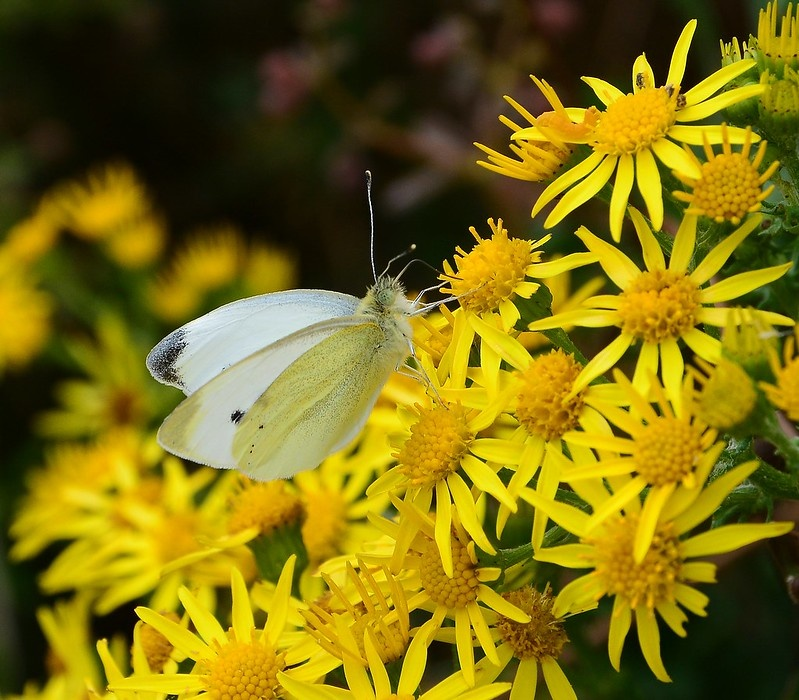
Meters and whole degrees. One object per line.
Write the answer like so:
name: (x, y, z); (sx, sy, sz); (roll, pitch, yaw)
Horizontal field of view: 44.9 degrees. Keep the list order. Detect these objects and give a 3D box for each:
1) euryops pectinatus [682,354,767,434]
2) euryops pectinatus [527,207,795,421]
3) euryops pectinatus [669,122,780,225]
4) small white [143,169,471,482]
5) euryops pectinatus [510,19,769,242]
euryops pectinatus: (0.485, 0.062, 1.467); (0.096, 0.041, 0.118); (-29, 96, 15)
euryops pectinatus: (0.429, -0.081, 1.584); (0.320, 0.093, 0.334); (-39, 60, 18)
euryops pectinatus: (0.531, -0.267, 1.562); (0.149, 0.059, 0.171); (-1, 71, 18)
small white: (-0.249, 0.070, 2.251); (0.463, 0.673, 0.666); (44, 100, -1)
euryops pectinatus: (0.413, -0.366, 1.641); (0.356, 0.104, 0.404); (-21, 50, 17)
